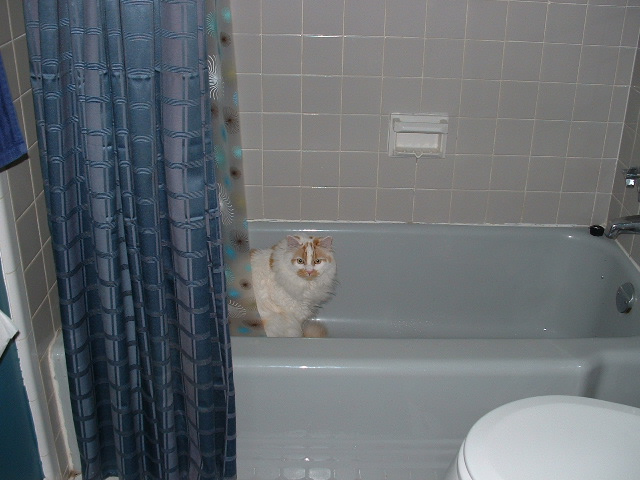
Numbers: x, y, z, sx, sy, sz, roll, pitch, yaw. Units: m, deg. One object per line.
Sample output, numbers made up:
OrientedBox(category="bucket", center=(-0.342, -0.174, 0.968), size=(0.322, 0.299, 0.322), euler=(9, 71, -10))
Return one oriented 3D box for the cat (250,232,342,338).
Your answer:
OrientedBox(category="cat", center=(-0.202, 0.218, 2.512), size=(0.517, 0.296, 0.662), euler=(1, -18, -26))
